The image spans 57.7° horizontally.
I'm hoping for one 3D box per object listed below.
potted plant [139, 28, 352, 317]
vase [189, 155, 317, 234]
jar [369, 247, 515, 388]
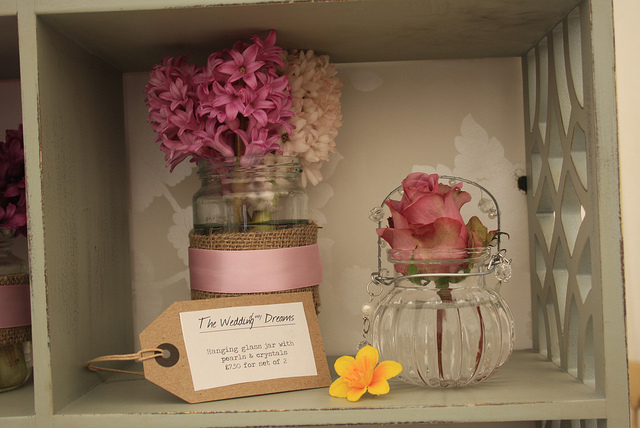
[{"bbox_3d":[-0.157,-0.087,1.244,0.392,0.580,0.210,-4,-4,13],"label":"potted plant"},{"bbox_3d":[-0.162,-0.027,1.316,0.274,0.195,0.274,4,9,39],"label":"vase"},{"bbox_3d":[0.233,0.210,1.279,0.284,0.258,0.279,-2,-5,0],"label":"jar"}]
